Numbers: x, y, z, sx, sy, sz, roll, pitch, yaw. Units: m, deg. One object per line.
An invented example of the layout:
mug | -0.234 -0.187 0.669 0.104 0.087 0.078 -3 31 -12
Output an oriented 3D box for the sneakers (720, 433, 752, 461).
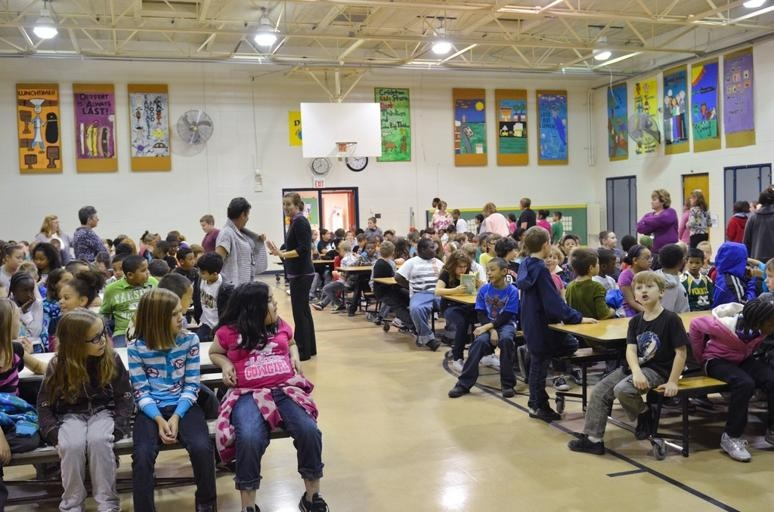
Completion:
sneakers | 3.128 1.692 5.636 0.241 0.184 0.235 4 14 25

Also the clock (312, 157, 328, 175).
clock | -1.860 -2.529 17.877 0.556 0.473 0.129 -9 15 -28

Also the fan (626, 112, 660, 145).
fan | 7.116 -3.497 17.354 0.783 0.814 0.533 7 16 35

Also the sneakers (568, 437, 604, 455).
sneakers | 1.841 1.752 5.855 0.352 0.143 0.137 2 -5 17

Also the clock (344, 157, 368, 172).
clock | -0.838 -2.655 18.179 0.480 0.455 0.093 0 10 -15

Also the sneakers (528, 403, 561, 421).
sneakers | 1.610 1.611 6.494 0.337 0.138 0.127 -2 -1 27

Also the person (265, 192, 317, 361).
person | -1.290 0.266 8.445 0.745 2.117 0.731 -1 3 -9

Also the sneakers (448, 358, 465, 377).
sneakers | 0.875 1.391 7.929 0.101 0.111 0.267 1 -5 -18

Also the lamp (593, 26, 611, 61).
lamp | 5.485 -5.472 16.097 0.368 0.937 3.172 2 13 17

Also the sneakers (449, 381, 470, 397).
sneakers | 0.811 1.510 7.048 0.108 0.140 0.317 -6 -12 37

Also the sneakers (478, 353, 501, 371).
sneakers | 1.340 1.365 8.089 0.154 0.185 0.445 3 -4 -37
